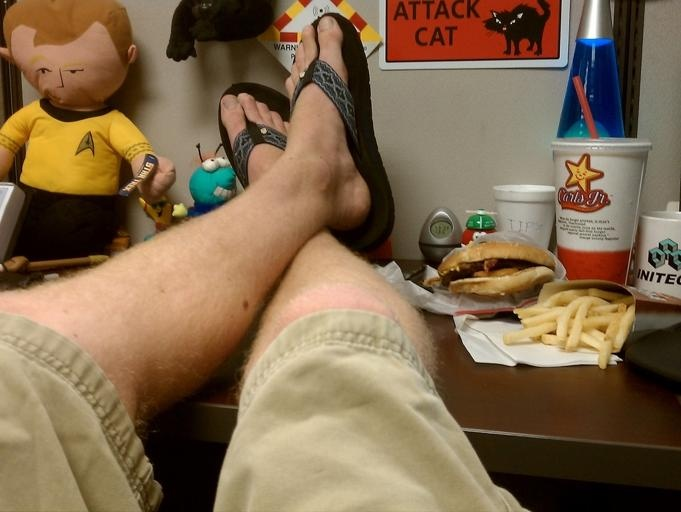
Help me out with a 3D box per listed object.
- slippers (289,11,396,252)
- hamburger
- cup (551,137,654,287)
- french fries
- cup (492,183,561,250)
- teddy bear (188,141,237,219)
[{"bbox_3d":[0.032,-0.204,1.066,0.140,0.443,0.110,-15,-2,21],"label":"slippers"},{"bbox_3d":[0.221,0.022,0.827,0.141,0.071,0.140,-2,-8,-20],"label":"hamburger"},{"bbox_3d":[0.358,-0.063,0.777,0.129,0.236,0.112,3,9,34],"label":"cup"},{"bbox_3d":[0.273,0.068,0.679,0.177,0.056,0.148,-10,13,-38],"label":"french fries"},{"bbox_3d":[0.306,-0.062,0.941,0.094,0.118,0.110,1,2,14],"label":"cup"},{"bbox_3d":[-0.237,-0.135,1.105,0.082,0.170,0.085,4,18,8],"label":"teddy bear"}]
